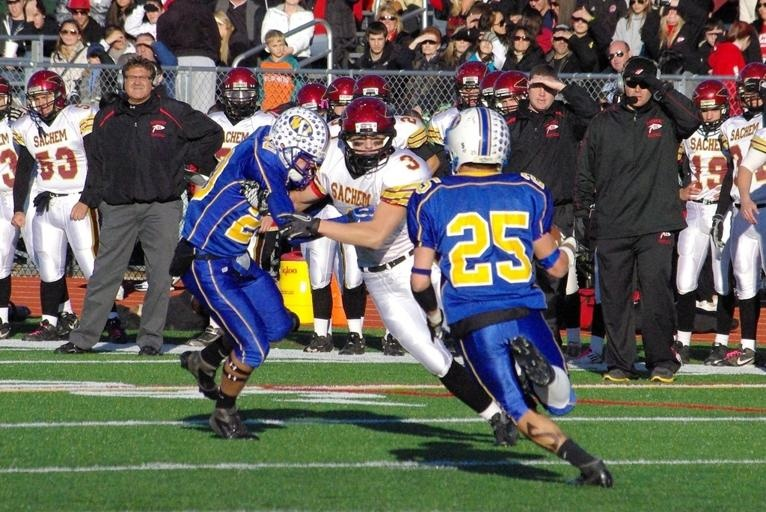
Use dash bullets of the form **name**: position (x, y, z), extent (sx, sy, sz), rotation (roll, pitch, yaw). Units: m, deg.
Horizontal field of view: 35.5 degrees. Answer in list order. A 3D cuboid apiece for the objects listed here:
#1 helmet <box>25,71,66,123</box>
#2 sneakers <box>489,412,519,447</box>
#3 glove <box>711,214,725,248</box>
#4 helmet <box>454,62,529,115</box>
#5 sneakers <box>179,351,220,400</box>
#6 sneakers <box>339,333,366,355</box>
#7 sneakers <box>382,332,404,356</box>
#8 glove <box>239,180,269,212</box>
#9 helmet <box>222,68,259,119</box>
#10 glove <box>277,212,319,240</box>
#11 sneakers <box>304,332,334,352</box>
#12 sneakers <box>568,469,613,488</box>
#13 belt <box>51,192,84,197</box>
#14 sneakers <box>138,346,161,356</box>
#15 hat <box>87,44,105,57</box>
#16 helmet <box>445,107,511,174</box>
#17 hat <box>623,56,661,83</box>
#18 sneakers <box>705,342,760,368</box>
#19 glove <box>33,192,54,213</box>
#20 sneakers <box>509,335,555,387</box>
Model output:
- **helmet**: position (-3.437, -1.708, 12.656), extent (0.430, 0.492, 0.534), rotation (-3, 10, 11)
- **sneakers**: position (0.899, 1.309, 9.026), extent (0.179, 0.286, 0.115), rotation (-34, 24, 0)
- **glove**: position (3.375, -0.255, 11.992), extent (0.122, 0.337, 0.144), rotation (1, 6, -2)
- **helmet**: position (1.104, -1.666, 12.069), extent (0.619, 0.443, 0.453), rotation (4, -4, -1)
- **sneakers**: position (-1.516, 0.981, 9.840), extent (0.187, 0.443, 0.153), rotation (-29, 9, 17)
- **sneakers**: position (-0.333, 0.899, 12.427), extent (0.258, 0.216, 0.144), rotation (0, 2, -18)
- **sneakers**: position (0.102, 0.918, 12.549), extent (0.228, 0.196, 0.364), rotation (0, 2, -1)
- **glove**: position (-1.099, -0.485, 9.709), extent (0.272, 0.111, 0.443), rotation (37, 2, -17)
- **helmet**: position (-1.539, -1.784, 12.970), extent (0.437, 0.487, 0.528), rotation (-1, 13, -3)
- **glove**: position (-0.622, -0.211, 8.741), extent (0.295, 0.192, 0.148), rotation (0, 2, -6)
- **sneakers**: position (-0.692, 0.927, 12.648), extent (0.312, 0.141, 0.157), rotation (0, -1, 13)
- **sneakers**: position (1.419, 1.504, 8.186), extent (0.308, 0.124, 0.112), rotation (3, 6, 13)
- **belt**: position (-3.370, -0.651, 12.607), extent (0.310, 0.057, 0.053), rotation (0, 2, -7)
- **sneakers**: position (-2.359, 0.945, 12.043), extent (0.222, 0.086, 0.272), rotation (0, 2, -10)
- **hat**: position (-3.842, -2.722, 15.886), extent (0.183, 0.070, 0.148), rotation (-7, 5, -34)
- **helmet**: position (0.643, -0.830, 8.503), extent (0.402, 0.406, 0.464), rotation (3, 28, -3)
- **hat**: position (2.348, -1.708, 10.959), extent (0.319, 0.213, 0.196), rotation (1, 2, 6)
- **sneakers**: position (3.533, 0.991, 12.068), extent (0.442, 0.160, 0.230), rotation (5, -2, -12)
- **glove**: position (-3.607, -0.568, 12.607), extent (0.172, 0.209, 0.079), rotation (22, 33, -9)
- **sneakers**: position (1.009, 0.700, 8.163), extent (0.210, 0.379, 0.139), rotation (-39, 2, 16)
